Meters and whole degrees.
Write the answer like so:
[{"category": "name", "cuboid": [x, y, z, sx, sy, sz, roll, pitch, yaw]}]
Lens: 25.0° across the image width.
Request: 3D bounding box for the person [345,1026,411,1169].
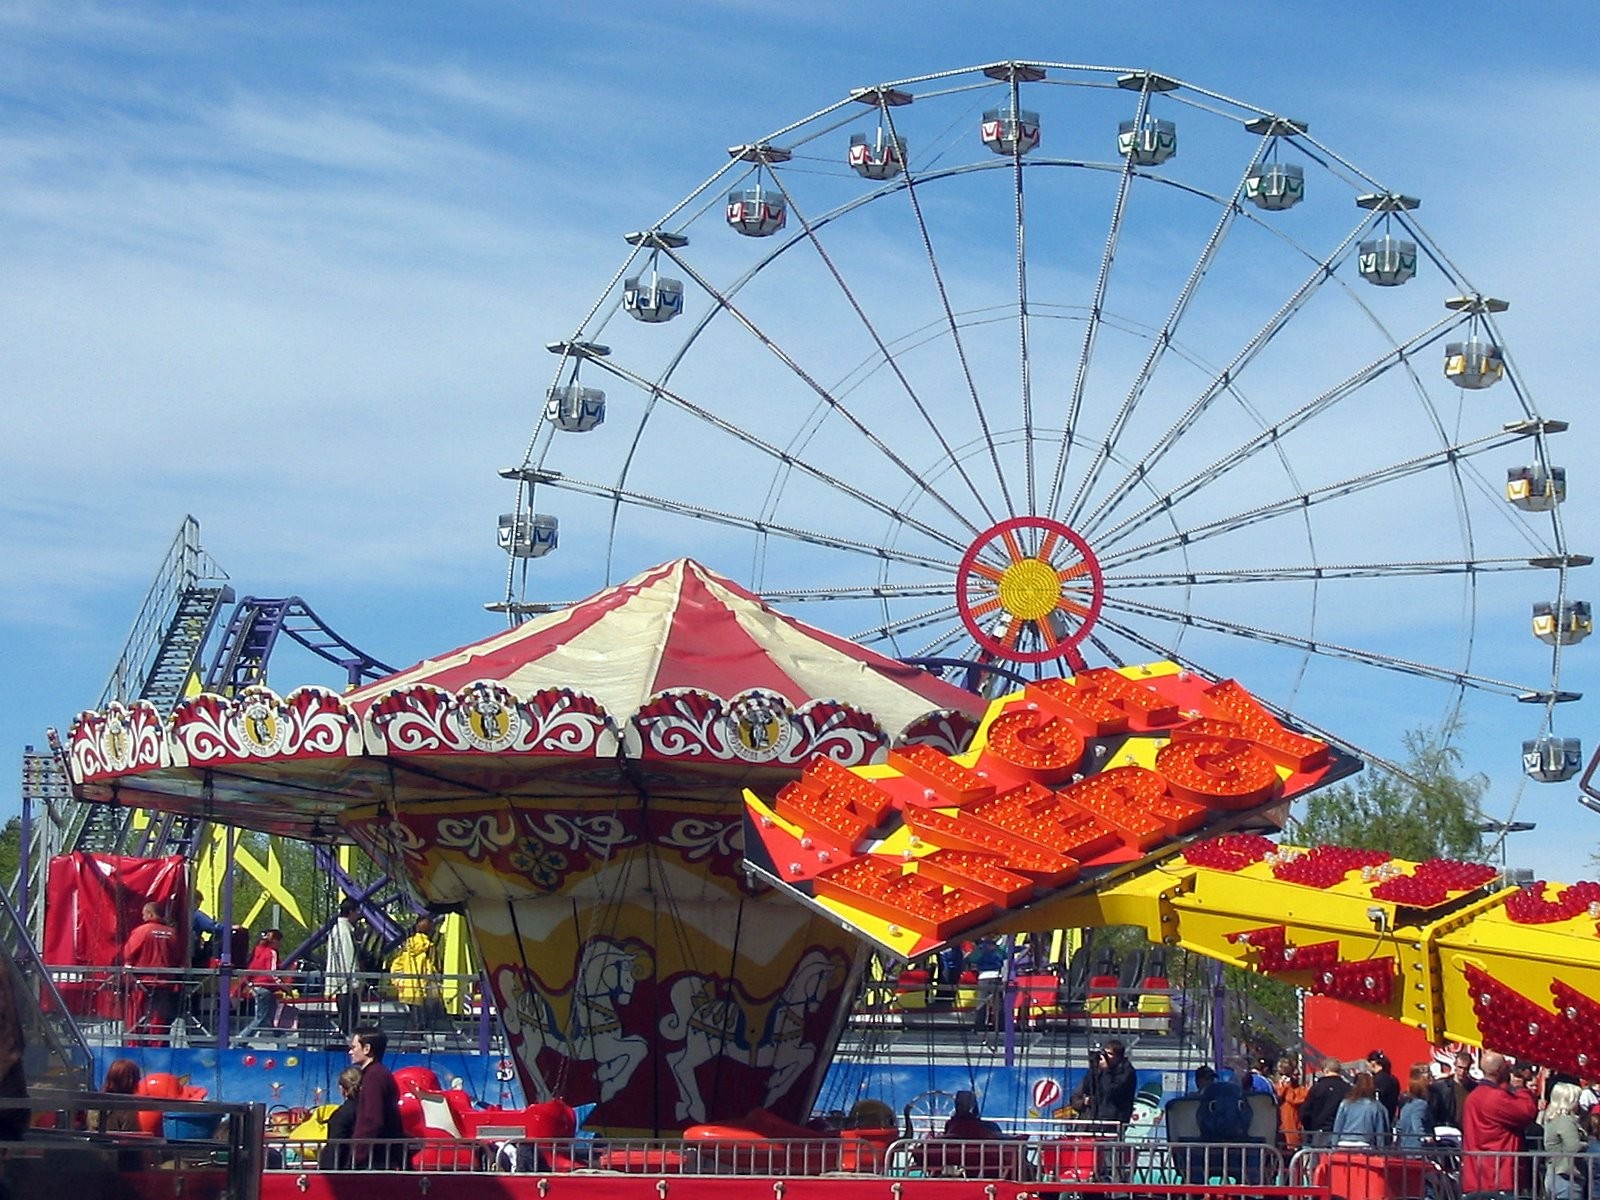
[{"category": "person", "cuboid": [-3.829, 4.561, 32.822, 0.593, 1.266, 1.009, 6, -16, -6]}]
